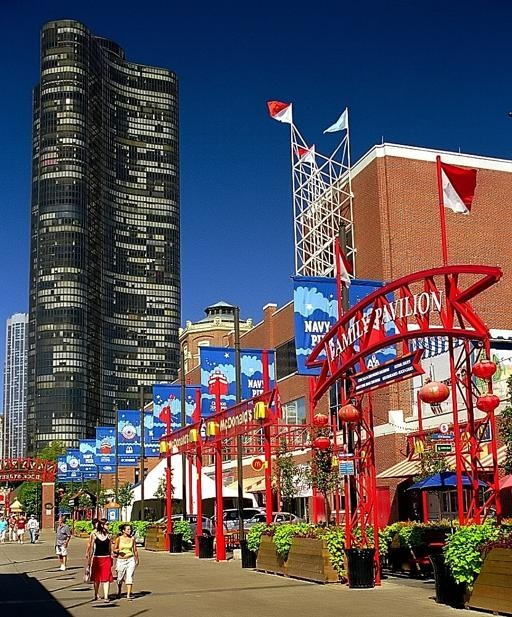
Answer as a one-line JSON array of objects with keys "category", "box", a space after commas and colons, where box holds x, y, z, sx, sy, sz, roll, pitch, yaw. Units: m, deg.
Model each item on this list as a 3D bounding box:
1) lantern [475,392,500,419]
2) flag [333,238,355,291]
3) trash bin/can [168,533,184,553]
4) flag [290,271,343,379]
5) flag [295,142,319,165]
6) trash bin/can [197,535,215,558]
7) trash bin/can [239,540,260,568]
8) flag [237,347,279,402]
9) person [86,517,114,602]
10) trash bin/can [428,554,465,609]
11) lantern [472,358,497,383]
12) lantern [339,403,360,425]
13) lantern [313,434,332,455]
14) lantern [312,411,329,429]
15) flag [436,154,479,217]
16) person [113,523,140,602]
[{"category": "lantern", "box": [4.387, 1.794, 17.756, 0.484, 0.508, 0.458, -5, -22, 40]}, {"category": "flag", "box": [2.195, -1.083, 23.465, 0.400, 1.388, 0.315, -11, -36, 14]}, {"category": "trash bin/can", "box": [-3.111, 9.124, 36.608, 0.597, 0.631, 0.610, 4, -18, -14]}, {"category": "flag", "box": [1.754, 0.237, 28.024, 1.248, 2.566, 0.839, -3, -15, 0]}, {"category": "flag", "box": [2.862, -8.954, 54.186, 0.747, 1.625, 1.889, 2, -16, -18]}, {"category": "trash bin/can", "box": [-1.749, 8.223, 32.511, 0.609, 0.741, 0.690, 1, -7, -11]}, {"category": "trash bin/can", "box": [-0.243, 6.986, 26.807, 0.691, 0.898, 0.658, 1, -14, -6]}, {"category": "flag", "box": [0.079, 2.249, 35.041, 0.881, 2.125, 1.306, 7, -14, -30]}, {"category": "person", "box": [-3.165, 5.131, 19.308, 0.499, 1.594, 0.529, 2, -3, -15]}, {"category": "trash bin/can", "box": [3.470, 4.971, 17.205, 0.374, 0.954, 1.061, -1, -16, -7]}, {"category": "lantern", "box": [4.314, 1.186, 17.869, 0.379, 0.411, 0.435, 6, 7, 12]}, {"category": "lantern", "box": [2.004, 2.307, 20.514, 0.389, 0.417, 0.401, -4, 3, -26]}, {"category": "lantern", "box": [1.642, 3.319, 23.062, 0.406, 0.424, 0.412, -1, -1, -22]}, {"category": "lantern", "box": [1.572, 2.787, 23.629, 0.396, 0.423, 0.408, -2, -11, 23]}, {"category": "flag", "box": [4.369, -2.672, 20.704, 1.009, 1.053, 0.170, 15, 18, 40]}, {"category": "person", "box": [-2.697, 5.202, 19.444, 0.497, 1.480, 0.563, 0, -1, 3]}]
